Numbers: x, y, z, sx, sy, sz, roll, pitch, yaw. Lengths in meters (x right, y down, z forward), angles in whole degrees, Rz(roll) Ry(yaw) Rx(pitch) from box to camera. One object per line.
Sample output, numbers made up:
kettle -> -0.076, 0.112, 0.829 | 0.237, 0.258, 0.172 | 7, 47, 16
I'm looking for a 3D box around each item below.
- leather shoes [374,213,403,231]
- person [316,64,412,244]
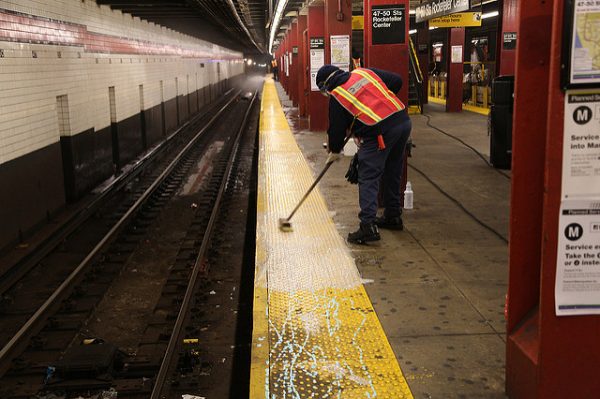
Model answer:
leather shoes -> 1.216, 0.317, 5.497 | 0.477, 0.174, 0.204 | 11, 16, 34
person -> 0.822, -0.583, 5.087 | 1.158, 2.187, 0.852 | -2, 18, 2
